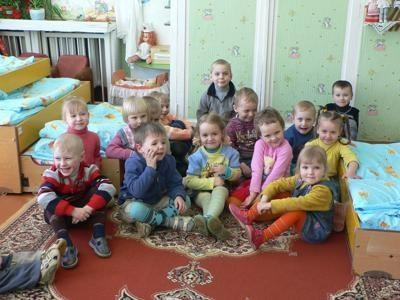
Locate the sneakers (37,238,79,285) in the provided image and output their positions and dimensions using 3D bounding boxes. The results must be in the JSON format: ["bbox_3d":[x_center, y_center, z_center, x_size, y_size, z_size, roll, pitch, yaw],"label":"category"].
[{"bbox_3d":[-0.736,0.550,1.656,0.086,0.107,0.248,7,40,5],"label":"sneakers"}]

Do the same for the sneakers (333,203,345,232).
[{"bbox_3d":[0.897,0.437,2.078,0.057,0.154,0.150,-3,43,17],"label":"sneakers"}]

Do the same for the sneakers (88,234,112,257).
[{"bbox_3d":[-0.567,0.542,1.844,0.067,0.064,0.152,-7,17,-38],"label":"sneakers"}]

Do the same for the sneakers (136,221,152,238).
[{"bbox_3d":[-0.348,0.494,1.975,0.056,0.049,0.134,-8,6,-4],"label":"sneakers"}]

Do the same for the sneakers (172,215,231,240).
[{"bbox_3d":[0.009,0.474,1.988,0.213,0.082,0.212,6,13,17],"label":"sneakers"}]

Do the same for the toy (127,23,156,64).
[{"bbox_3d":[-0.764,-1.419,4.241,0.329,0.470,0.498,0,22,1],"label":"toy"}]

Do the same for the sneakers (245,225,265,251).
[{"bbox_3d":[0.319,0.509,1.875,0.074,0.182,0.060,-14,19,-4],"label":"sneakers"}]

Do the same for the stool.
[{"bbox_3d":[-0.743,-0.689,3.821,0.545,0.333,0.342,8,33,6],"label":"stool"}]
